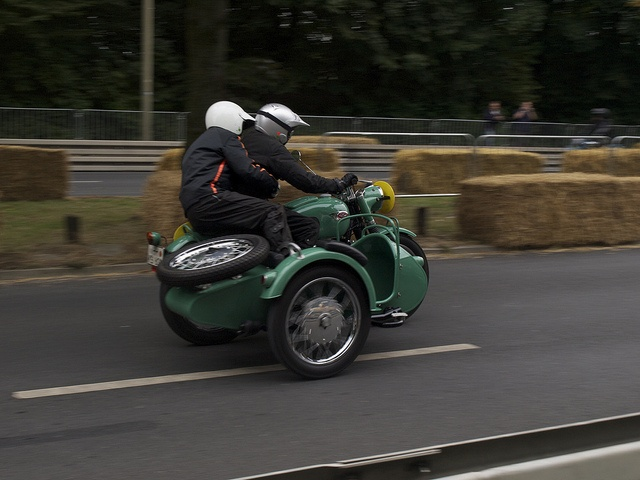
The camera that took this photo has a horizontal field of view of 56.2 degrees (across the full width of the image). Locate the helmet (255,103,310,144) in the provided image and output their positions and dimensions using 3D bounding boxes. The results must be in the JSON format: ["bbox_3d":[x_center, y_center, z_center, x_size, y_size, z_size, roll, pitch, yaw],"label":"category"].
[{"bbox_3d":[-0.428,-1.090,5.591,0.518,0.254,0.341,14,16,11],"label":"helmet"}]

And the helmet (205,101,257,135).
[{"bbox_3d":[-0.849,-1.108,5.518,0.540,0.203,0.345,-1,11,-37],"label":"helmet"}]

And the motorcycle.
[{"bbox_3d":[-0.049,0.112,5.405,2.796,1.022,1.584,-13,25,-38],"label":"motorcycle"}]
